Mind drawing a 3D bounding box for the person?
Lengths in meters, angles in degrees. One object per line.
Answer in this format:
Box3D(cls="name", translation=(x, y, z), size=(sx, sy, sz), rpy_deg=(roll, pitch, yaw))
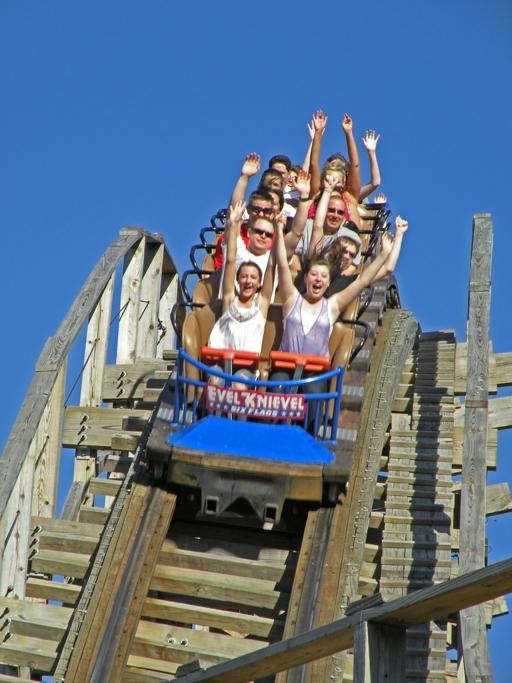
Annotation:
Box3D(cls="person", translation=(0.438, -0.371, 12.284), size=(0.924, 2.318, 1.184), rpy_deg=(3, -30, 14))
